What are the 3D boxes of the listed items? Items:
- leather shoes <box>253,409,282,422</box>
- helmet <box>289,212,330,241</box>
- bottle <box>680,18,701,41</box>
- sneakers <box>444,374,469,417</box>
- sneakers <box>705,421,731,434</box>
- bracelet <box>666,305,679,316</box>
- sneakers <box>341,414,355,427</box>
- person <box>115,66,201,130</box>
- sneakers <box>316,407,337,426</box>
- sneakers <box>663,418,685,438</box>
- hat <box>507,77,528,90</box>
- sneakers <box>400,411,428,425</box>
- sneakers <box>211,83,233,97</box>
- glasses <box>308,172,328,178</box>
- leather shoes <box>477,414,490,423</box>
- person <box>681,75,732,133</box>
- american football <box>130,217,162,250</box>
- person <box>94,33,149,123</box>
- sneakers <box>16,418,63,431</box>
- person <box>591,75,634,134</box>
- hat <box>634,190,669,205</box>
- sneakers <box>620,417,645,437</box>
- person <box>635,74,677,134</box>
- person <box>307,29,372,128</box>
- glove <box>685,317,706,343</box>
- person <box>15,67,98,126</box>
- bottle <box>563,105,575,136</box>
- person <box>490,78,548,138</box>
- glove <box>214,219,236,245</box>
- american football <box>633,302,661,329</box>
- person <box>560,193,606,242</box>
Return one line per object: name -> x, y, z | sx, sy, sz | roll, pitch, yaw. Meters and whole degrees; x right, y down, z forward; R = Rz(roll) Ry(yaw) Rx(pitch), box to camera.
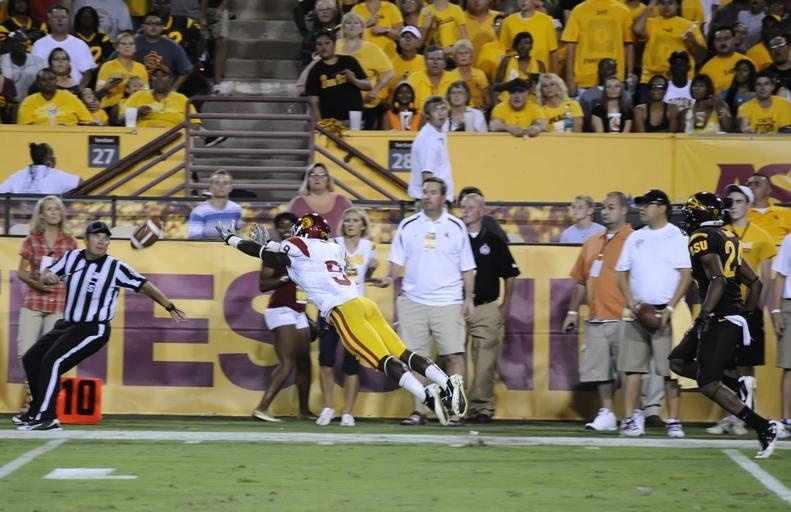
leather shoes -> -1.709, 2.171, 21.567 | 0.420, 0.137, 0.136 | 16, 15, -18
helmet -> -1.017, -0.347, 20.631 | 0.422, 0.297, 0.336 | 22, 18, 35
bottle -> 4.886, -3.646, 26.756 | 0.284, 0.394, 0.559 | 0, -2, 27
sneakers -> 0.725, 1.770, 20.212 | 0.314, 0.495, 0.226 | -9, -1, -33
sneakers -> 4.239, 2.284, 21.375 | 0.268, 0.096, 0.160 | -12, 1, 10
bracelet -> 3.548, 0.727, 20.969 | 0.136, 0.033, 0.116 | 7, -36, -3
sneakers -> -0.626, 2.200, 21.480 | 0.155, 0.103, 0.289 | -1, -6, -3
person -> -3.619, -2.390, 24.962 | 1.182, 0.962, 0.837 | 1, -2, -1
sneakers -> -0.912, 2.144, 21.475 | 0.148, 0.307, 0.145 | 38, -7, 38
sneakers -> 3.599, 2.265, 21.117 | 0.225, 0.219, 0.550 | -2, -7, 5
hat -> 1.853, -2.566, 24.702 | 0.333, 0.212, 0.294 | 0, -2, 12
sneakers -> 0.255, 2.185, 21.563 | 0.363, 0.122, 0.148 | 1, -4, -11
sneakers -> -2.799, -2.693, 26.483 | 0.325, 0.202, 0.286 | 1, -2, -6
glasses -> -1.032, -1.073, 21.972 | 0.227, 0.045, 0.055 | 1, -2, -8
leather shoes -> 1.185, 2.197, 21.698 | 0.140, 0.068, 0.124 | 0, -3, -3
person -> 4.781, -2.293, 24.923 | 0.775, 0.983, 0.700 | 1, -2, -3
american football -> -3.367, -0.225, 22.060 | 0.270, 0.360, 0.270 | 22, -3, -28
person -> -4.209, -2.503, 25.613 | 0.813, 1.787, 0.683 | -4, 9, -38
sneakers -> -4.521, 2.181, 20.804 | 0.580, 0.178, 0.173 | 2, -7, -6
person -> 3.327, -2.277, 24.992 | 0.624, 0.859, 0.453 | 1, -2, 4
hat -> 3.310, -0.733, 20.976 | 0.365, 0.159, 0.212 | 7, 1, 3
sneakers -> 3.038, 2.222, 20.970 | 0.286, 0.243, 0.219 | 1, -2, 6
person -> 3.982, -2.183, 24.879 | 0.796, 1.001, 0.712 | 0, 6, 15
person -> -0.871, -2.662, 24.796 | 0.960, 1.416, 0.470 | 1, -2, -5
glove -> 3.728, 0.911, 20.041 | 0.077, 0.255, 0.216 | 5, 31, -49
person -> -5.251, -2.341, 24.831 | 1.240, 0.824, 0.597 | -6, 27, 10
bottle -> 2.657, -2.106, 24.937 | 0.202, 0.462, 0.093 | 1, -2, 7
person -> 1.878, -2.206, 24.869 | 0.851, 0.900, 0.661 | 1, -2, 9
glove -> -2.223, -0.265, 20.697 | 0.347, 0.097, 0.273 | 33, 34, 9
american football -> 3.236, 0.783, 20.866 | 0.376, 0.113, 0.263 | 33, 38, 0
person -> 2.561, -0.440, 22.172 | 0.827, 0.672, 0.445 | -6, -9, 37
